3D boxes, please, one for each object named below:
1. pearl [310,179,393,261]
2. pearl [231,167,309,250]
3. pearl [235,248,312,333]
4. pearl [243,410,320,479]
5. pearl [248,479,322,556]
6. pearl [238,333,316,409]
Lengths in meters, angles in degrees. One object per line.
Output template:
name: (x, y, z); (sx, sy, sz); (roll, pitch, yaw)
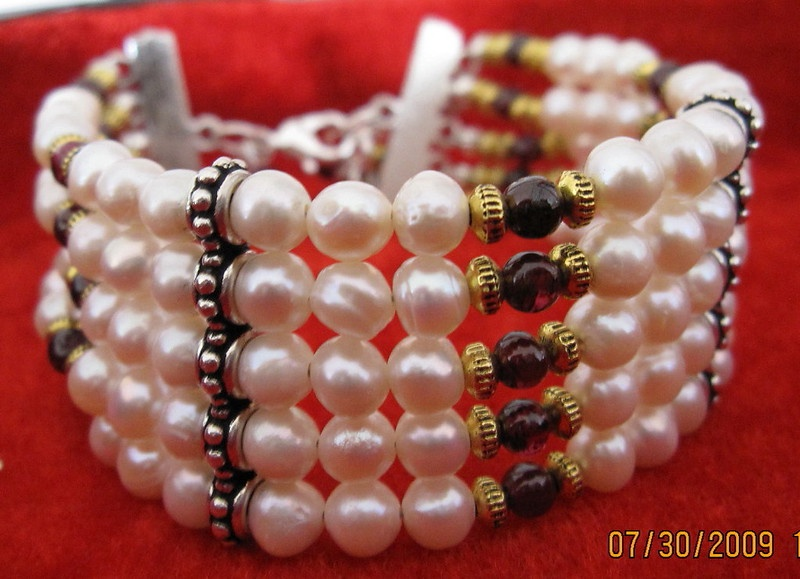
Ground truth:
pearl: (-0.080, -0.109, 1.441); (0.119, 0.096, 0.117); (-1, 1, 34)
pearl: (-0.201, -0.140, 1.487); (0.115, 0.136, 0.122); (4, 15, 36)
pearl: (-0.211, 0.029, 1.496); (0.117, 0.129, 0.117); (-14, -27, 7)
pearl: (-0.199, 0.255, 1.547); (0.112, 0.124, 0.113); (1, 2, 6)
pearl: (-0.194, 0.375, 1.496); (0.115, 0.144, 0.124); (-5, 12, 0)
pearl: (-0.212, 0.124, 1.538); (0.111, 0.130, 0.121); (5, 7, 33)
